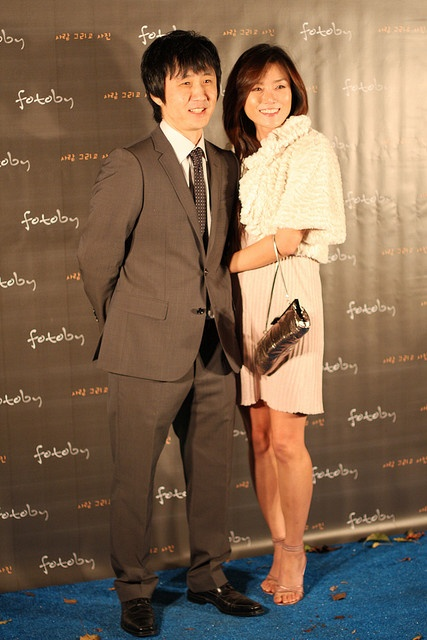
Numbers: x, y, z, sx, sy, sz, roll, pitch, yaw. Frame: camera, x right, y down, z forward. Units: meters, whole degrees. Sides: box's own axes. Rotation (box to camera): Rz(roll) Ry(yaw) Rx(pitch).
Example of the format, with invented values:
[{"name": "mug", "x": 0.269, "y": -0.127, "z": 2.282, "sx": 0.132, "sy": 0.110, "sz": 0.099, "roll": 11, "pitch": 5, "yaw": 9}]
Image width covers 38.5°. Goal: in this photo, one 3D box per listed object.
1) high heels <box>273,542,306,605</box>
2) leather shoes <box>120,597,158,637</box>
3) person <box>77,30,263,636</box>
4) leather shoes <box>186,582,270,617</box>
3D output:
[{"name": "high heels", "x": 0.263, "y": 0.848, "z": 2.065, "sx": 0.076, "sy": 0.095, "sz": 0.227, "roll": -3, "pitch": 20, "yaw": 14}, {"name": "leather shoes", "x": -0.220, "y": 0.901, "z": 1.850, "sx": 0.059, "sy": 0.062, "sz": 0.147, "roll": 4, "pitch": -8, "yaw": -18}, {"name": "person", "x": -0.134, "y": 0.058, "z": 1.905, "sx": 0.482, "sy": 1.796, "sz": 0.476, "roll": -3, "pitch": -3, "yaw": 2}, {"name": "leather shoes", "x": 0.048, "y": 0.886, "z": 2.030, "sx": 0.089, "sy": 0.092, "sz": 0.260, "roll": -5, "pitch": 2, "yaw": -43}]
